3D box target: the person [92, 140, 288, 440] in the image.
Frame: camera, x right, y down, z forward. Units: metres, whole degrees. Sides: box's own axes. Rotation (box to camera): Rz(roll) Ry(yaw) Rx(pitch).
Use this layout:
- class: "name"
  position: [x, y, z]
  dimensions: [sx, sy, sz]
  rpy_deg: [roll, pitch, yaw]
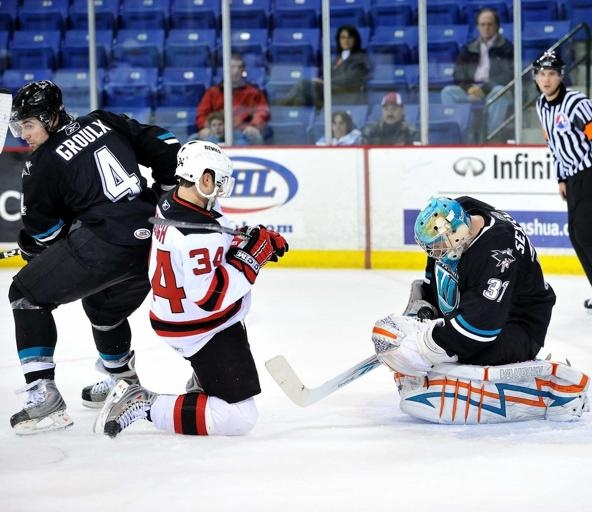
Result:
- class: "person"
  position: [-0.441, 0.150, 3.802]
  dimensions: [0.811, 1.275, 0.359]
  rpy_deg: [-2, 12, -1]

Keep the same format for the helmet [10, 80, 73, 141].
- class: "helmet"
  position: [-1.183, -0.668, 4.006]
  dimensions: [0.209, 0.218, 0.241]
  rpy_deg: [15, 38, 32]

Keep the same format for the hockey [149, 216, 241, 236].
- class: "hockey"
  position: [-0.441, -0.124, 3.700]
  dimensions: [0.348, 0.054, 0.016]
  rpy_deg: [13, -11, -12]

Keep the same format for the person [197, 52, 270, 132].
- class: "person"
  position: [-0.572, -1.361, 7.820]
  dimensions: [0.655, 0.780, 0.410]
  rpy_deg: [1, 6, -4]

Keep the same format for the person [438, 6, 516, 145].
- class: "person"
  position: [1.608, -1.548, 7.503]
  dimensions: [0.506, 1.133, 0.592]
  rpy_deg: [6, 14, 35]

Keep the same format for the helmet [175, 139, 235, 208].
- class: "helmet"
  position: [-0.409, -0.342, 3.788]
  dimensions: [0.275, 0.269, 0.232]
  rpy_deg: [3, 7, -33]

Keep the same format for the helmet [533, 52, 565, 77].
- class: "helmet"
  position: [1.585, -1.199, 5.511]
  dimensions: [0.137, 0.126, 0.174]
  rpy_deg: [-2, 4, 13]

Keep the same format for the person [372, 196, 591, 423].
- class: "person"
  position: [0.805, 0.267, 4.243]
  dimensions: [1.161, 0.969, 0.856]
  rpy_deg: [1, 6, 2]

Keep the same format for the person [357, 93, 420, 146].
- class: "person"
  position: [0.872, -1.185, 7.614]
  dimensions: [0.734, 0.413, 0.356]
  rpy_deg: [7, 10, 29]
